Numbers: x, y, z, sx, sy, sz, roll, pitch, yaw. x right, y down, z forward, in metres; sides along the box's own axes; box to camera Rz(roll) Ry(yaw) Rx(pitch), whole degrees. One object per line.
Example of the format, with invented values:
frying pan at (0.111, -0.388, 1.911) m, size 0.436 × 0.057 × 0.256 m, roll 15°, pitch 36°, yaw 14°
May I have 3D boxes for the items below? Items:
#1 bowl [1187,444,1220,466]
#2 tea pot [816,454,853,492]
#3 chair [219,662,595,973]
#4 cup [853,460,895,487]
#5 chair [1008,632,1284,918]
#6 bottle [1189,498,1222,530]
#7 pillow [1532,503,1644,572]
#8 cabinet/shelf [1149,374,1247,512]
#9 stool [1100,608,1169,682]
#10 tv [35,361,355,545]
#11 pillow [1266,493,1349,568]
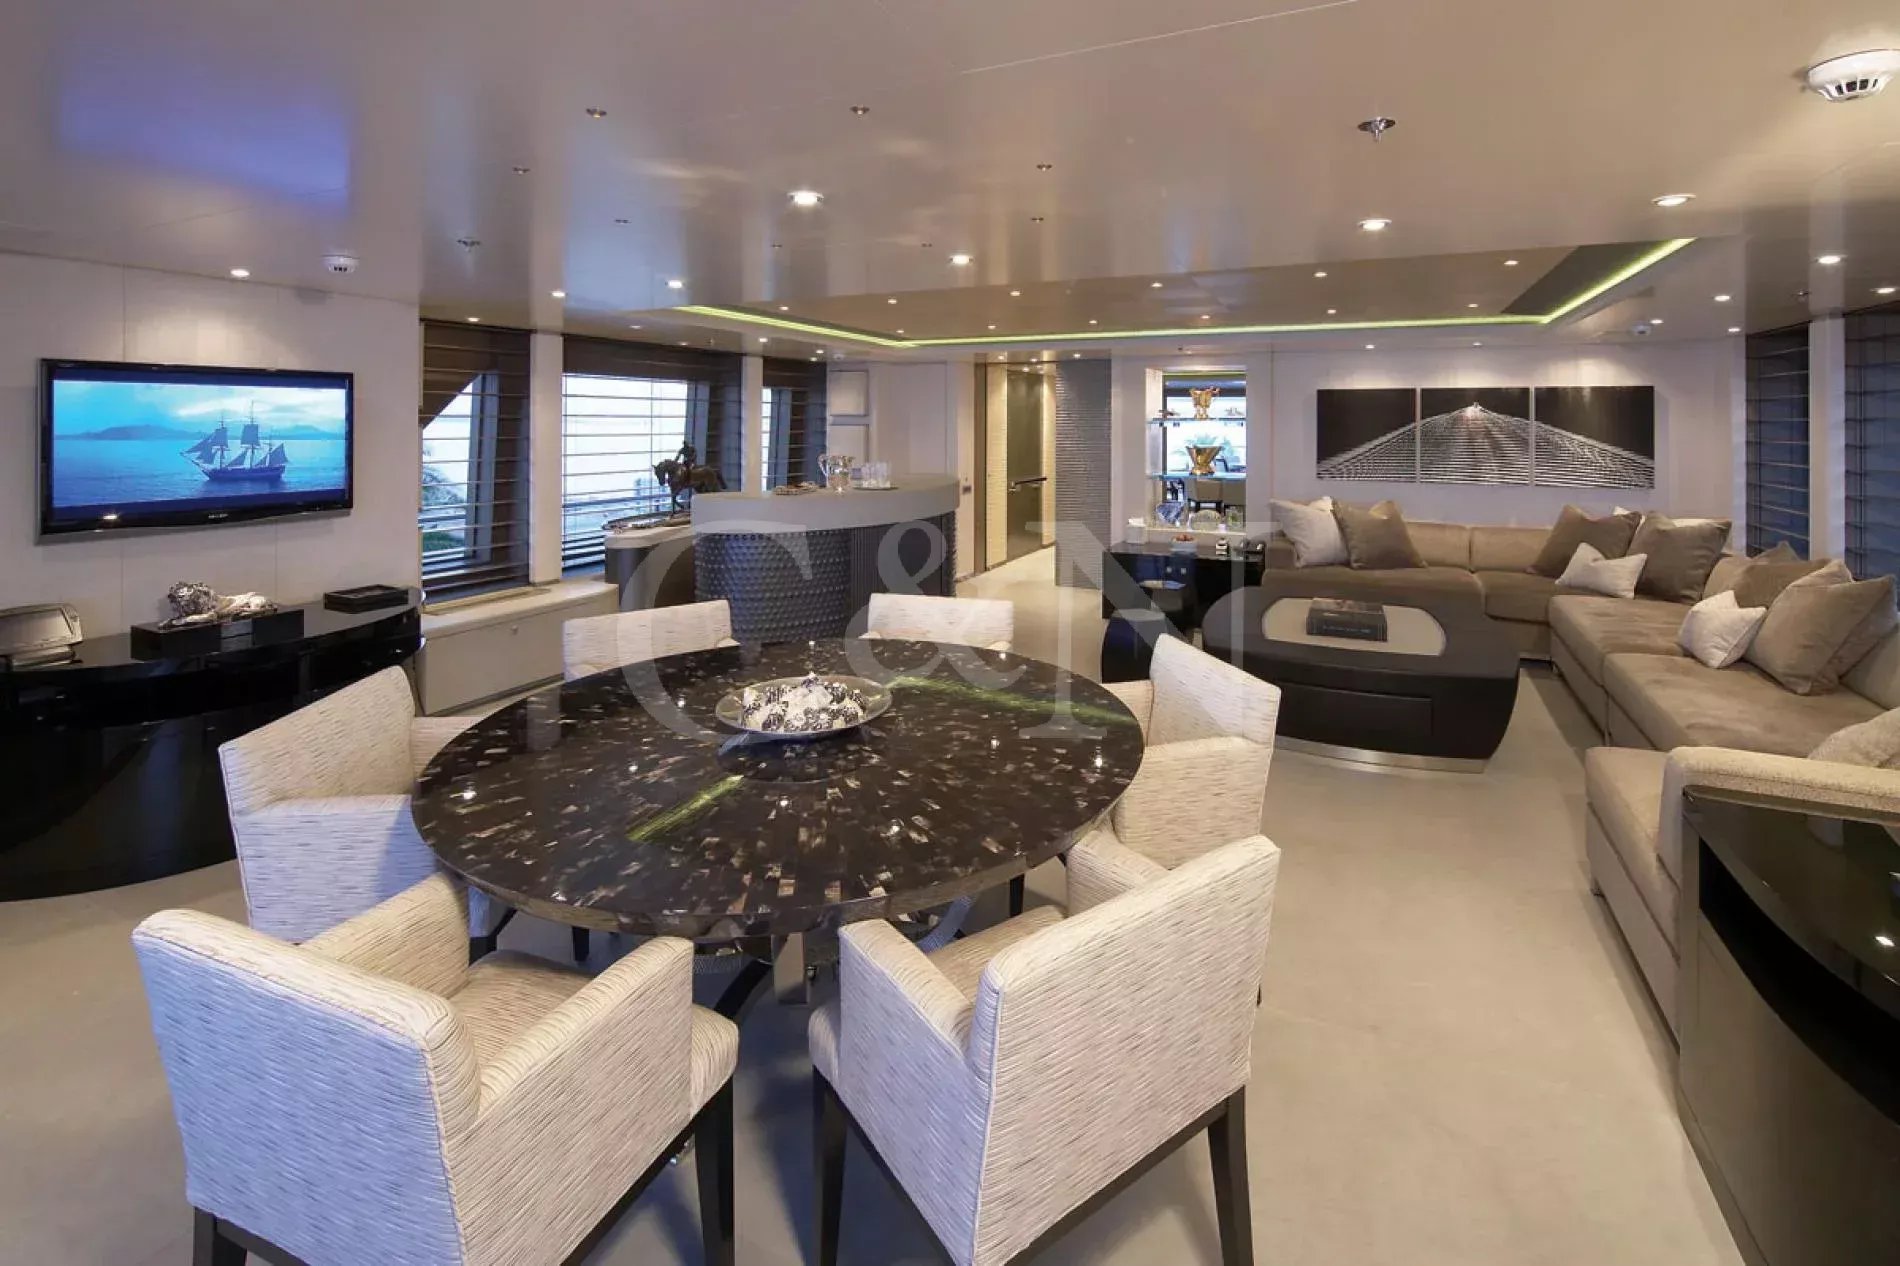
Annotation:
bowl at (2.292, -1.575, 10.868) m, size 0.221 × 0.162 × 0.223 m, roll -2°, pitch 7°, yaw 0°
tea pot at (-0.789, -1.144, 8.660) m, size 0.221 × 0.204 × 0.629 m, roll -2°, pitch 11°, yaw -3°
chair at (-1.858, 0.577, 4.415) m, size 1.065 × 1.126 × 1.055 m, roll 1°, pitch 11°, yaw 1°
cup at (-0.519, -1.129, 8.680) m, size 0.217 × 0.160 × 0.217 m, roll -1°, pitch 7°, yaw 0°
chair at (0.751, 0.504, 4.305) m, size 0.995 × 1.063 × 0.955 m, roll -6°, pitch 12°, yaw -13°
bottle at (2.248, -1.038, 10.630) m, size 0.258 × 0.177 × 0.263 m, roll -1°, pitch 4°, yaw 0°
pillow at (4.480, -0.686, 8.538) m, size 0.195 × 0.515 × 0.500 m, roll 18°, pitch -10°, yaw -33°
cabinet/shelf at (2.310, -1.719, 10.920) m, size 0.780 × 1.220 × 1.016 m, roll -2°, pitch 11°, yaw -3°
stool at (1.157, 0.074, 7.502) m, size 0.413 × 0.493 × 0.356 m, roll 1°, pitch 3°, yaw 16°
tv at (-3.720, -0.937, 6.037) m, size 0.062 × 0.782 × 1.510 m, roll 5°, pitch 13°, yaw 30°
pillow at (2.815, -0.788, 9.499) m, size 0.558 × 0.468 × 0.313 m, roll -34°, pitch 15°, yaw -35°
